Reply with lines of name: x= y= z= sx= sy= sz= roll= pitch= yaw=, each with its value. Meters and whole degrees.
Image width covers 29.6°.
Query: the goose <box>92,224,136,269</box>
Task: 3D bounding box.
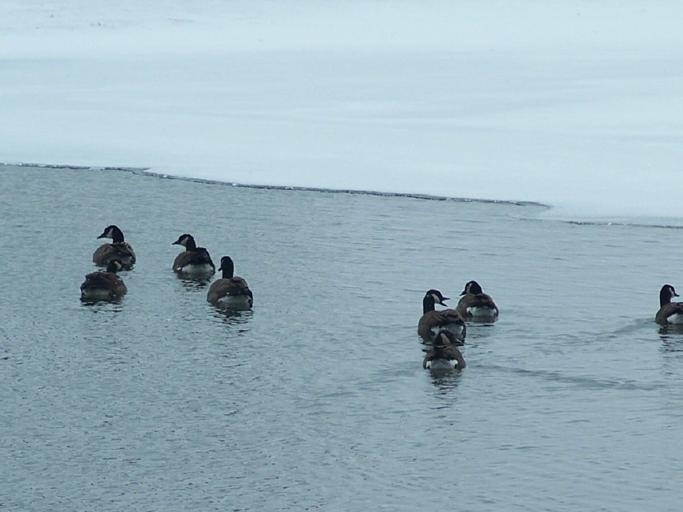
goose: x=-7.532 y=-0.157 z=43.191 sx=1.517 sy=1.536 sz=1.547 roll=0 pitch=17 yaw=-6

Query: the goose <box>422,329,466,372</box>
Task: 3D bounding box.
goose: x=2.862 y=2.749 z=35.733 sx=0.886 sy=0.765 sz=1.309 roll=1 pitch=6 yaw=11

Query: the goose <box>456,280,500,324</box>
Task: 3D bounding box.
goose: x=4.128 y=1.534 z=39.376 sx=0.973 sy=0.930 sz=1.616 roll=-2 pitch=4 yaw=-2

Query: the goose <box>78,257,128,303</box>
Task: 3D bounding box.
goose: x=-7.425 y=0.814 z=40.003 sx=1.472 sy=1.142 sz=1.803 roll=-4 pitch=14 yaw=-21
